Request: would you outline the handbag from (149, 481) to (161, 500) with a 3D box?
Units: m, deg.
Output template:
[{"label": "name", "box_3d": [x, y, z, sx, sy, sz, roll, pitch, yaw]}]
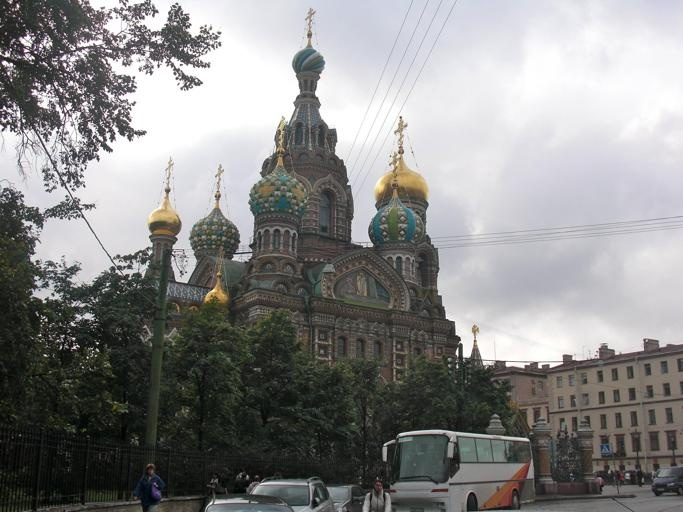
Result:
[{"label": "handbag", "box_3d": [-5.264, 6.600, 24.893, 0.216, 0.477, 0.360, -24, -35, 13]}]
